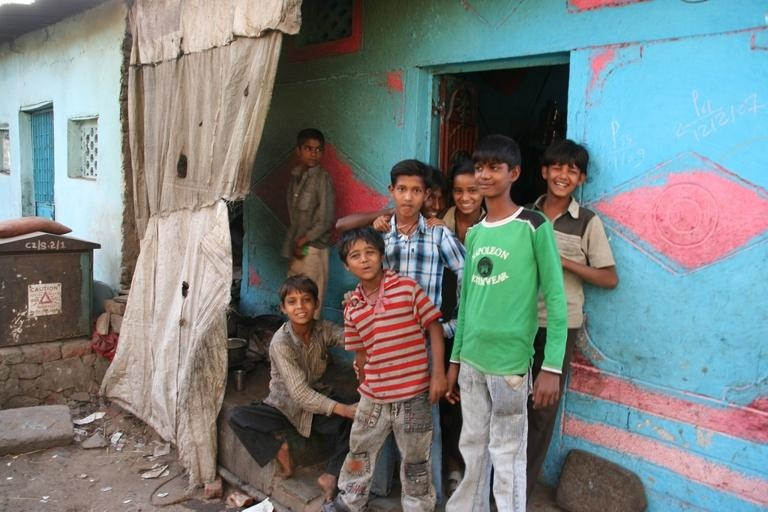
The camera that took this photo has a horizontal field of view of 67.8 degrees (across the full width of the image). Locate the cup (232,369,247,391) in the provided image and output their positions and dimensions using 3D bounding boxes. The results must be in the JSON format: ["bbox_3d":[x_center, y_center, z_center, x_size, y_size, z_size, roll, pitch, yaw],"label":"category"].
[{"bbox_3d":[-1.375,1.161,5.459,0.148,0.203,0.166,-4,10,-24],"label":"cup"}]

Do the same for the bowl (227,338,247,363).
[{"bbox_3d":[-1.478,0.933,5.738,0.217,0.151,0.218,1,13,0],"label":"bowl"}]
